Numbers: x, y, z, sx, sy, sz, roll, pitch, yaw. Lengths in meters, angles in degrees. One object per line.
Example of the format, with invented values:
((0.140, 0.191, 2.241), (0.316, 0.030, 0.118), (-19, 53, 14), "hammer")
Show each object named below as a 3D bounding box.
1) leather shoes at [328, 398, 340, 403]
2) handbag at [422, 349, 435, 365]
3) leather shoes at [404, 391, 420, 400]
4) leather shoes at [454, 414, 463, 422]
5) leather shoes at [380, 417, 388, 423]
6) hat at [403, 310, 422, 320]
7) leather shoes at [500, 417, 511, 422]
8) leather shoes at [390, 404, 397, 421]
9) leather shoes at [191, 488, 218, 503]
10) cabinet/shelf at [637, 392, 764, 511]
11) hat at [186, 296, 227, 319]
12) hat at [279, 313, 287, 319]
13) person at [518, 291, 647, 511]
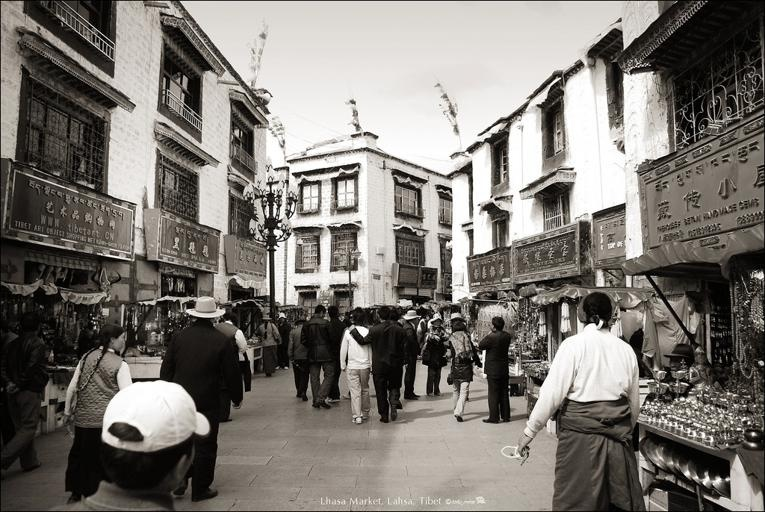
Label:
((-1.137, 3.349, 16.721), (0.252, 0.109, 0.094), (10, -16, -25), "leather shoes")
((1.031, 2.384, 17.010), (0.366, 0.549, 0.295), (0, -7, -1), "handbag")
((0.692, 3.377, 17.341), (0.358, 0.254, 0.133), (1, -4, -13), "leather shoes")
((1.552, 3.330, 14.754), (0.100, 0.169, 0.168), (-3, -23, 1), "leather shoes")
((0.026, 3.330, 14.632), (0.137, 0.138, 0.082), (2, -3, 40), "leather shoes")
((0.814, 1.633, 19.725), (0.345, 0.168, 0.391), (-13, -7, 42), "hat")
((2.509, 3.361, 14.745), (0.165, 0.096, 0.093), (2, -2, -6), "leather shoes")
((0.245, 3.210, 14.739), (0.112, 0.255, 0.175), (-1, -7, 4), "leather shoes")
((-2.682, 3.595, 10.885), (0.418, 0.185, 0.141), (0, -3, -23), "leather shoes")
((4.922, 2.916, 10.605), (1.382, 1.855, 1.878), (5, -10, -26), "cabinet/shelf")
((-2.843, 0.839, 11.527), (0.533, 0.375, 0.653), (0, 3, -16), "hat")
((-4.240, 2.513, 30.425), (0.438, 0.230, 0.625), (3, -16, -7), "hat")
((2.702, 1.923, 9.401), (1.299, 2.713, 0.546), (1, 3, 13), "person")
